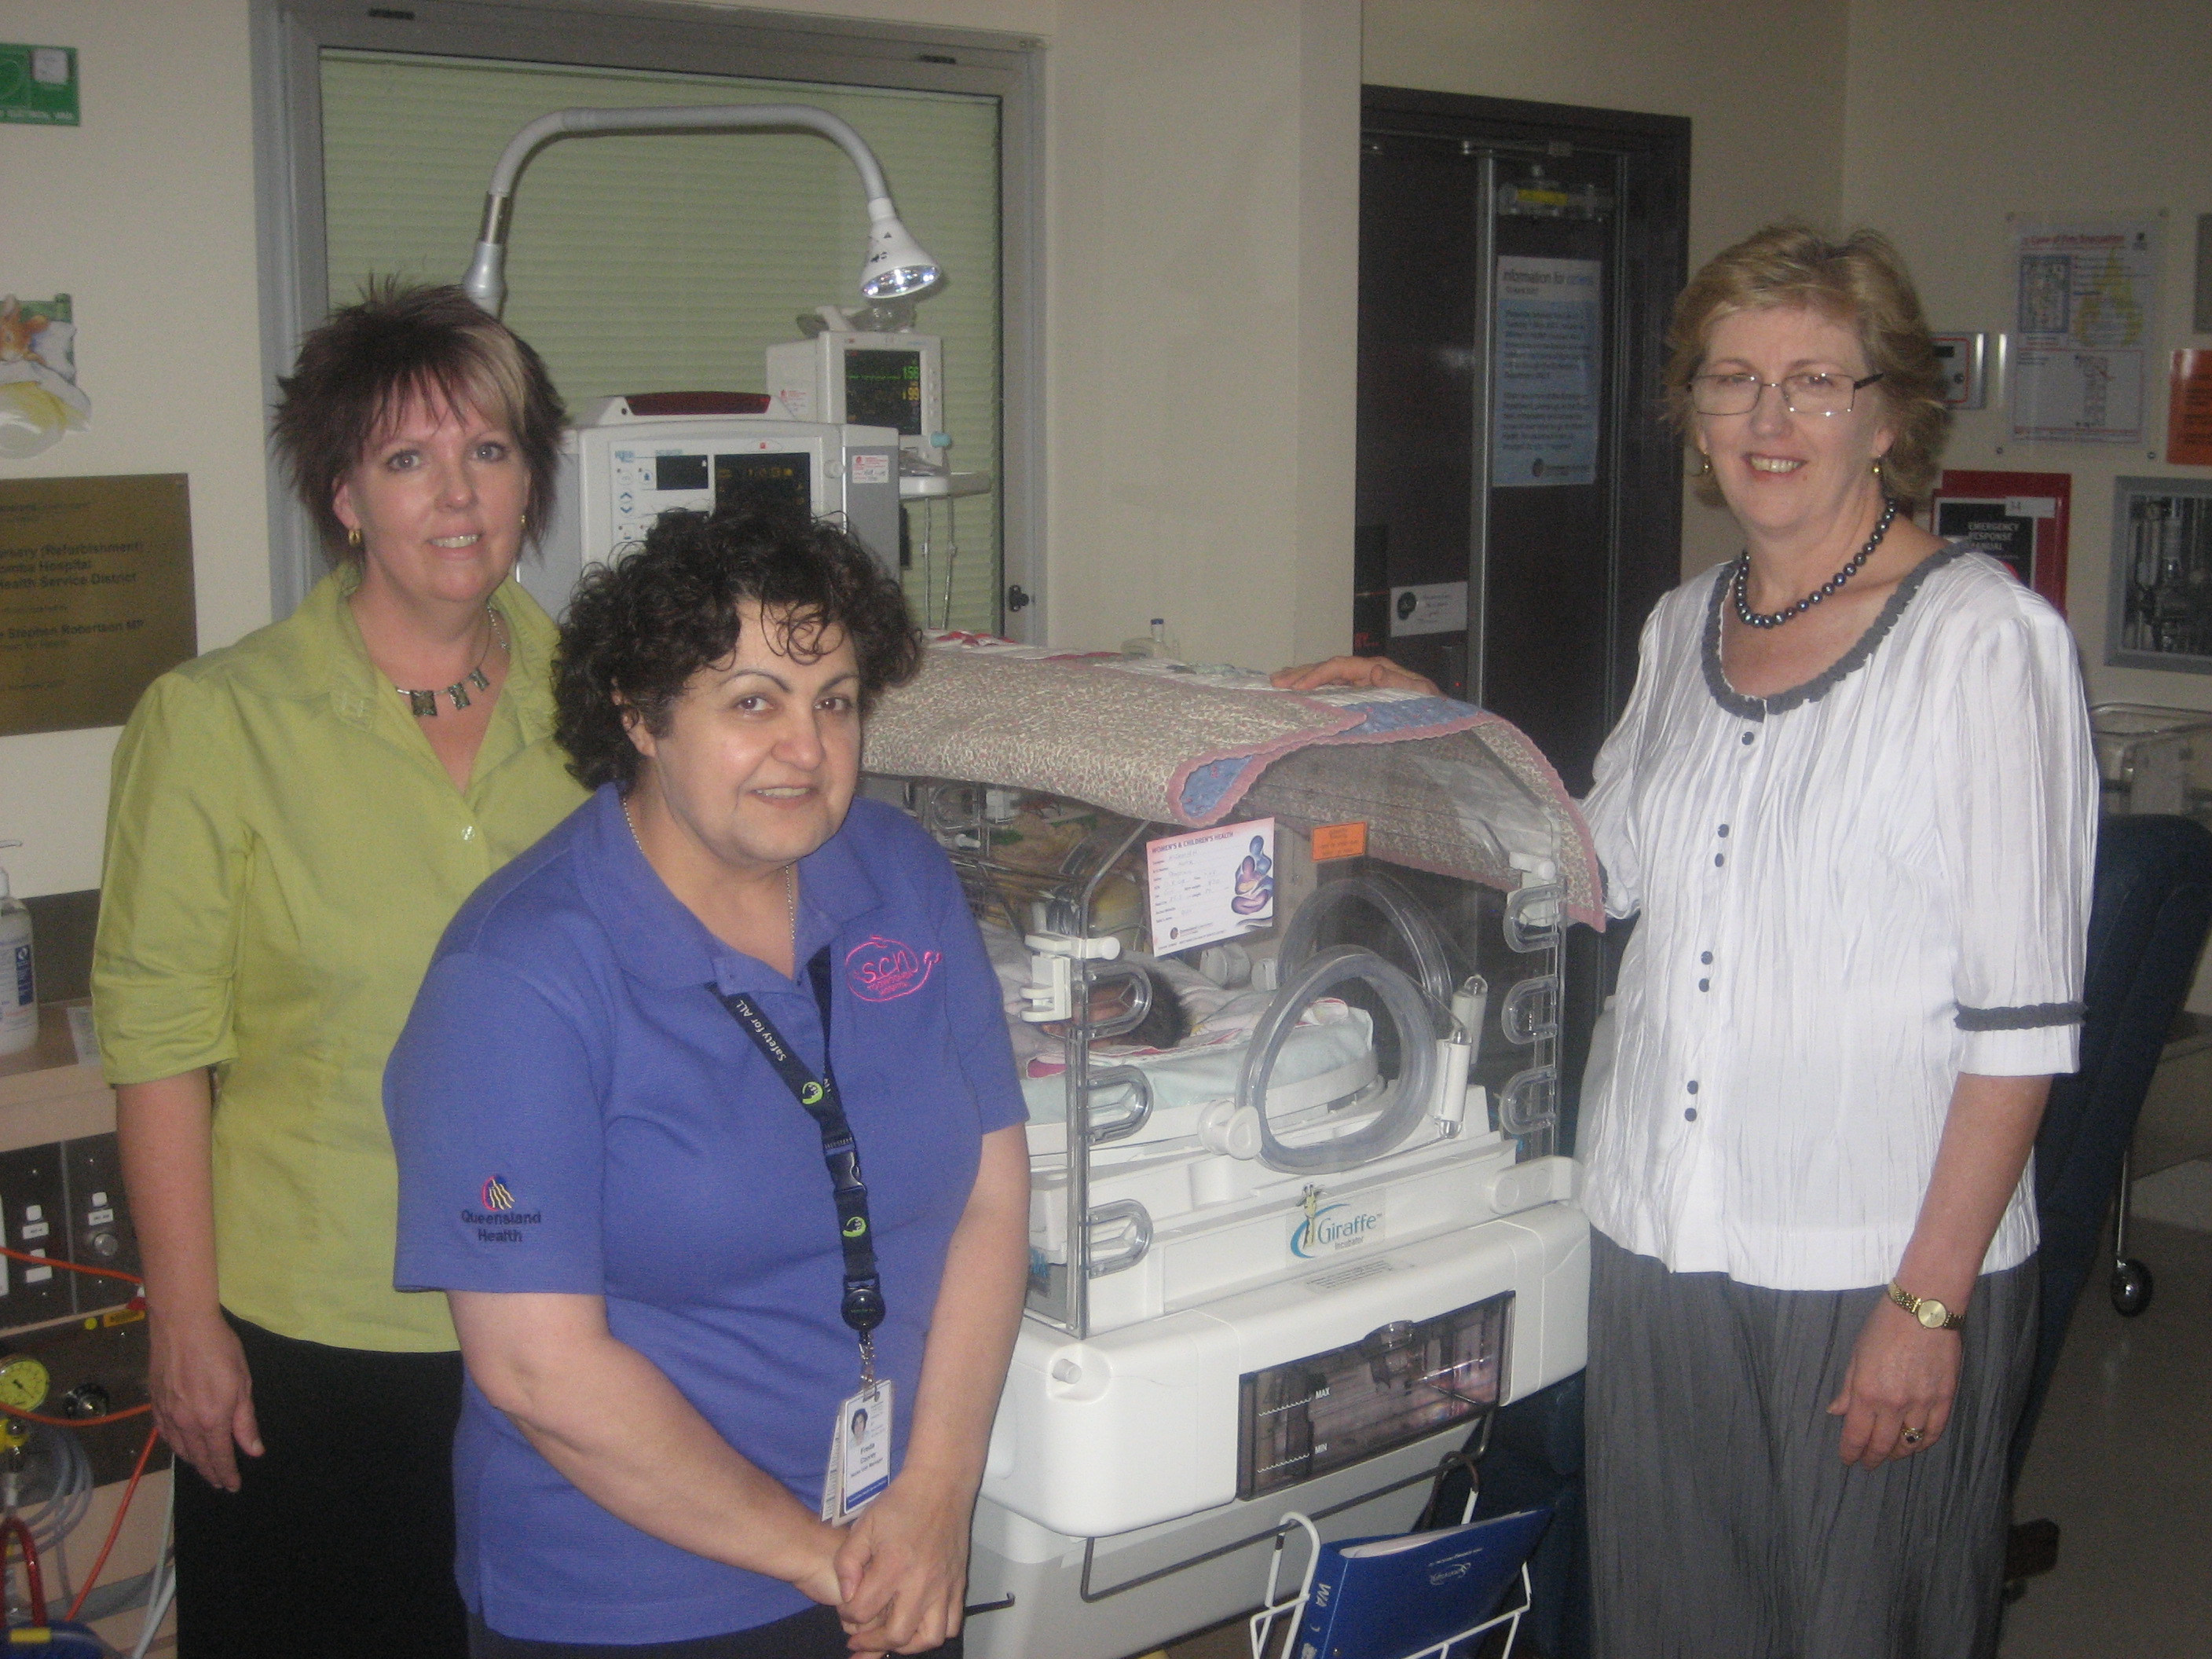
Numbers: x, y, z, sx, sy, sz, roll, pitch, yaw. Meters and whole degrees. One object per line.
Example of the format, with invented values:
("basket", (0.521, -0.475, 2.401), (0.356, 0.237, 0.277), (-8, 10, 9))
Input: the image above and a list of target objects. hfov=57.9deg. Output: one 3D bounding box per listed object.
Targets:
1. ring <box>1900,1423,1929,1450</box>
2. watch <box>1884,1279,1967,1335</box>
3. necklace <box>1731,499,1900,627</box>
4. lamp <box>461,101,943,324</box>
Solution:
("ring", (0.837, 0.627, 2.063), (0.023, 0.024, 0.009), (-2, 20, -8))
("watch", (0.836, 0.486, 2.037), (0.064, 0.042, 0.019), (0, 10, 21))
("necklace", (0.760, -0.272, 2.143), (0.021, 0.147, 0.119), (13, 35, -39))
("lamp", (-0.725, -1.098, 3.519), (0.806, 0.401, 0.662), (-6, 10, -19))
